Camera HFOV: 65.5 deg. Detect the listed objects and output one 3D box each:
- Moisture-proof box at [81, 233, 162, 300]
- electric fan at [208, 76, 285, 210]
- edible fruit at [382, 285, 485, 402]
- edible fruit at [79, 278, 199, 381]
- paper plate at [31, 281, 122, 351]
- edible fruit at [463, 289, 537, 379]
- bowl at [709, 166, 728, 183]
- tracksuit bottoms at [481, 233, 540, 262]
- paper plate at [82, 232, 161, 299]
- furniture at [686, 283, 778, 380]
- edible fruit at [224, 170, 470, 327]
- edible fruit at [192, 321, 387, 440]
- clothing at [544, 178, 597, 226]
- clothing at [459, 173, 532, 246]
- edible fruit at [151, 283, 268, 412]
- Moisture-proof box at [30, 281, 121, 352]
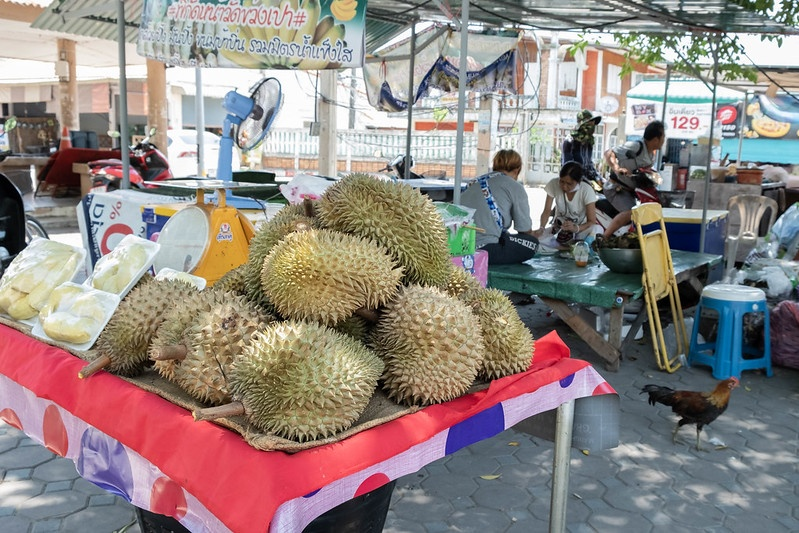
[{"bbox_3d":[-1.198,0.018,2.783,0.220,0.324,0.097,18,-25,32],"label":"Moisture-proof box"},{"bbox_3d":[-1.231,-0.964,4.967,0.637,1.056,0.444,14,8,42],"label":"electric fan"},{"bbox_3d":[0.121,0.336,2.576,0.414,0.400,0.409,25,5,43],"label":"edible fruit"},{"bbox_3d":[-1.129,0.305,2.535,0.261,0.262,0.530,-2,21,13],"label":"edible fruit"},{"bbox_3d":[-1.324,0.232,2.677,0.334,0.284,0.100,18,-14,30],"label":"paper plate"},{"bbox_3d":[0.404,0.294,2.714,0.248,0.367,0.271,-18,-21,-29],"label":"edible fruit"},{"bbox_3d":[5.209,-1.450,10.172,0.280,0.200,0.244,0,7,10],"label":"bowl"},{"bbox_3d":[1.088,-0.155,6.026,0.418,0.157,0.290,-12,6,-28],"label":"tracksuit bottoms"},{"bbox_3d":[-1.198,0.016,2.789,0.216,0.325,0.099,20,-22,32],"label":"paper plate"},{"bbox_3d":[2.941,0.598,5.551,0.662,0.686,0.656,4,1,11],"label":"furniture"},{"bbox_3d":[-0.189,-0.105,2.645,0.753,0.481,0.630,-1,9,-30],"label":"edible fruit"},{"bbox_3d":[-0.397,0.389,2.238,0.584,0.338,0.365,-8,18,-23],"label":"edible fruit"},{"bbox_3d":[2.008,-0.722,7.270,0.586,0.318,0.559,17,-35,30],"label":"clothing"},{"bbox_3d":[0.940,-0.555,6.307,0.863,0.710,0.463,1,19,34],"label":"clothing"},{"bbox_3d":[-0.756,0.320,2.424,0.339,0.314,0.362,-2,-2,25],"label":"edible fruit"},{"bbox_3d":[-1.331,0.232,2.685,0.331,0.286,0.098,18,-15,31],"label":"Moisture-proof box"}]
